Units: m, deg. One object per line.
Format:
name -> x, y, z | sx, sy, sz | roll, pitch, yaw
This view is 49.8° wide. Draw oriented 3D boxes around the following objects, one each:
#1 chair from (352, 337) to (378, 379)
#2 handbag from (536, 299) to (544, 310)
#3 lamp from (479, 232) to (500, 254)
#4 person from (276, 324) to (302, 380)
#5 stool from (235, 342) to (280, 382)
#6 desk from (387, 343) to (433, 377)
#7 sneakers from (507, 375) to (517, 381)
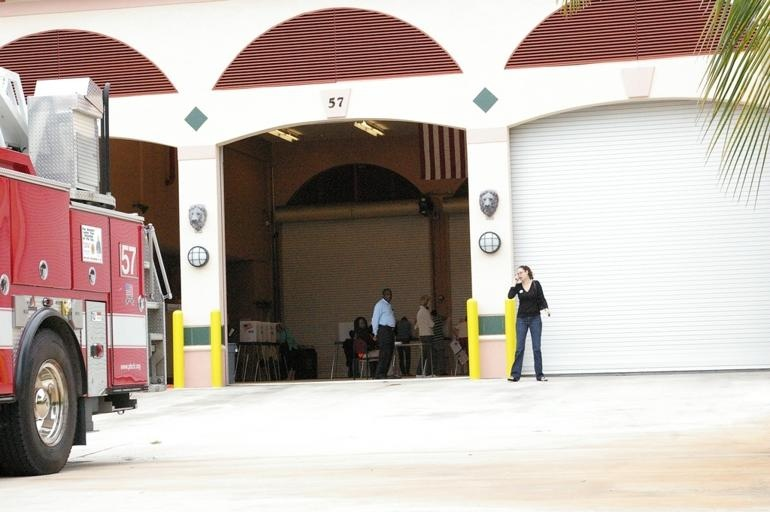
chair -> -0.496, 3.050, 24.709 | 0.765, 1.113, 0.722 | -1, -3, 36
handbag -> 3.206, 0.995, 17.190 | 0.049, 0.152, 0.158 | 5, -3, -28
lamp -> 2.409, -0.334, 18.988 | 0.469, 0.478, 0.166 | -1, -5, 11
person -> -3.298, 3.227, 28.467 | 0.387, 1.573, 1.583 | 1, -1, 14
stool -> -3.958, 3.303, 26.089 | 0.666, 1.206, 2.362 | -5, -6, 16
desk -> 0.725, 2.991, 24.014 | 1.035, 1.210, 1.804 | -2, -3, -2
sneakers -> 2.720, 2.608, 17.771 | 0.164, 0.112, 0.307 | -2, -9, 12
